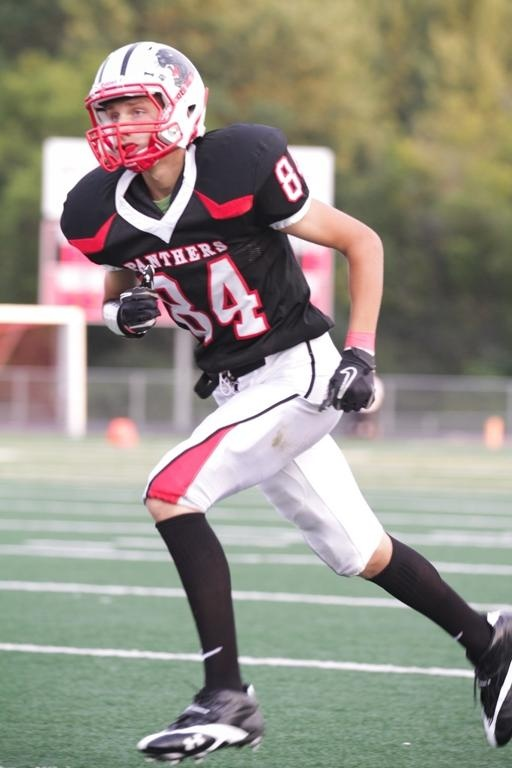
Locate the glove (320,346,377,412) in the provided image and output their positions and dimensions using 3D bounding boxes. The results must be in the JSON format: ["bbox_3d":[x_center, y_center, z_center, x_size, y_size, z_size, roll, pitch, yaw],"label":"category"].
[{"bbox_3d":[0.193,-0.005,1.719,0.103,0.052,0.128,-1,58,1],"label":"glove"}]

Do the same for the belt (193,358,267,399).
[{"bbox_3d":[-0.070,-0.010,1.928,0.103,0.127,0.045,4,50,-36],"label":"belt"}]
